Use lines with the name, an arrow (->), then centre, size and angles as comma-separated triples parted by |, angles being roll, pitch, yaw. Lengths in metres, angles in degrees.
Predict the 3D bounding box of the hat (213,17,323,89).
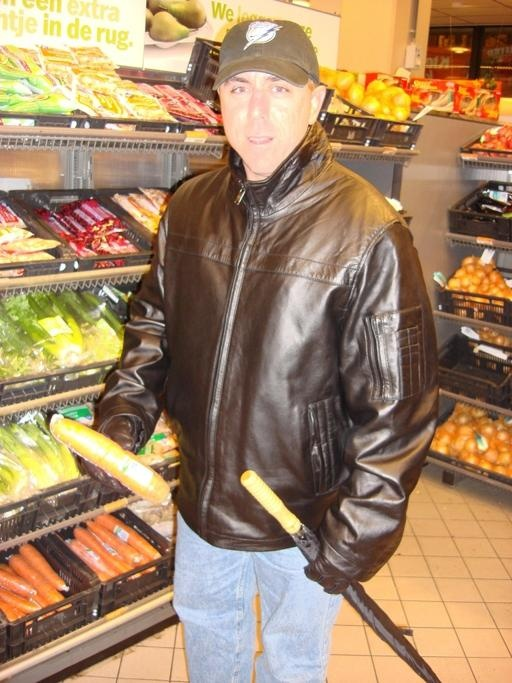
hat -> 0.015, -0.533, 0.967 | 0.194, 0.113, 0.246 | 0, 24, 0

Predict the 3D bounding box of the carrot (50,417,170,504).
carrot -> -0.276, 0.202, 0.917 | 0.251, 0.118, 0.085 | 13, 15, 29

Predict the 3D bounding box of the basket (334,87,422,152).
basket -> 0.584, -1.066, 2.602 | 0.331, 0.158, 0.506 | 33, 30, 25

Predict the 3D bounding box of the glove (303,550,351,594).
glove -> 0.135, 0.425, 0.978 | 0.073, 0.041, 0.097 | 43, -12, 5
